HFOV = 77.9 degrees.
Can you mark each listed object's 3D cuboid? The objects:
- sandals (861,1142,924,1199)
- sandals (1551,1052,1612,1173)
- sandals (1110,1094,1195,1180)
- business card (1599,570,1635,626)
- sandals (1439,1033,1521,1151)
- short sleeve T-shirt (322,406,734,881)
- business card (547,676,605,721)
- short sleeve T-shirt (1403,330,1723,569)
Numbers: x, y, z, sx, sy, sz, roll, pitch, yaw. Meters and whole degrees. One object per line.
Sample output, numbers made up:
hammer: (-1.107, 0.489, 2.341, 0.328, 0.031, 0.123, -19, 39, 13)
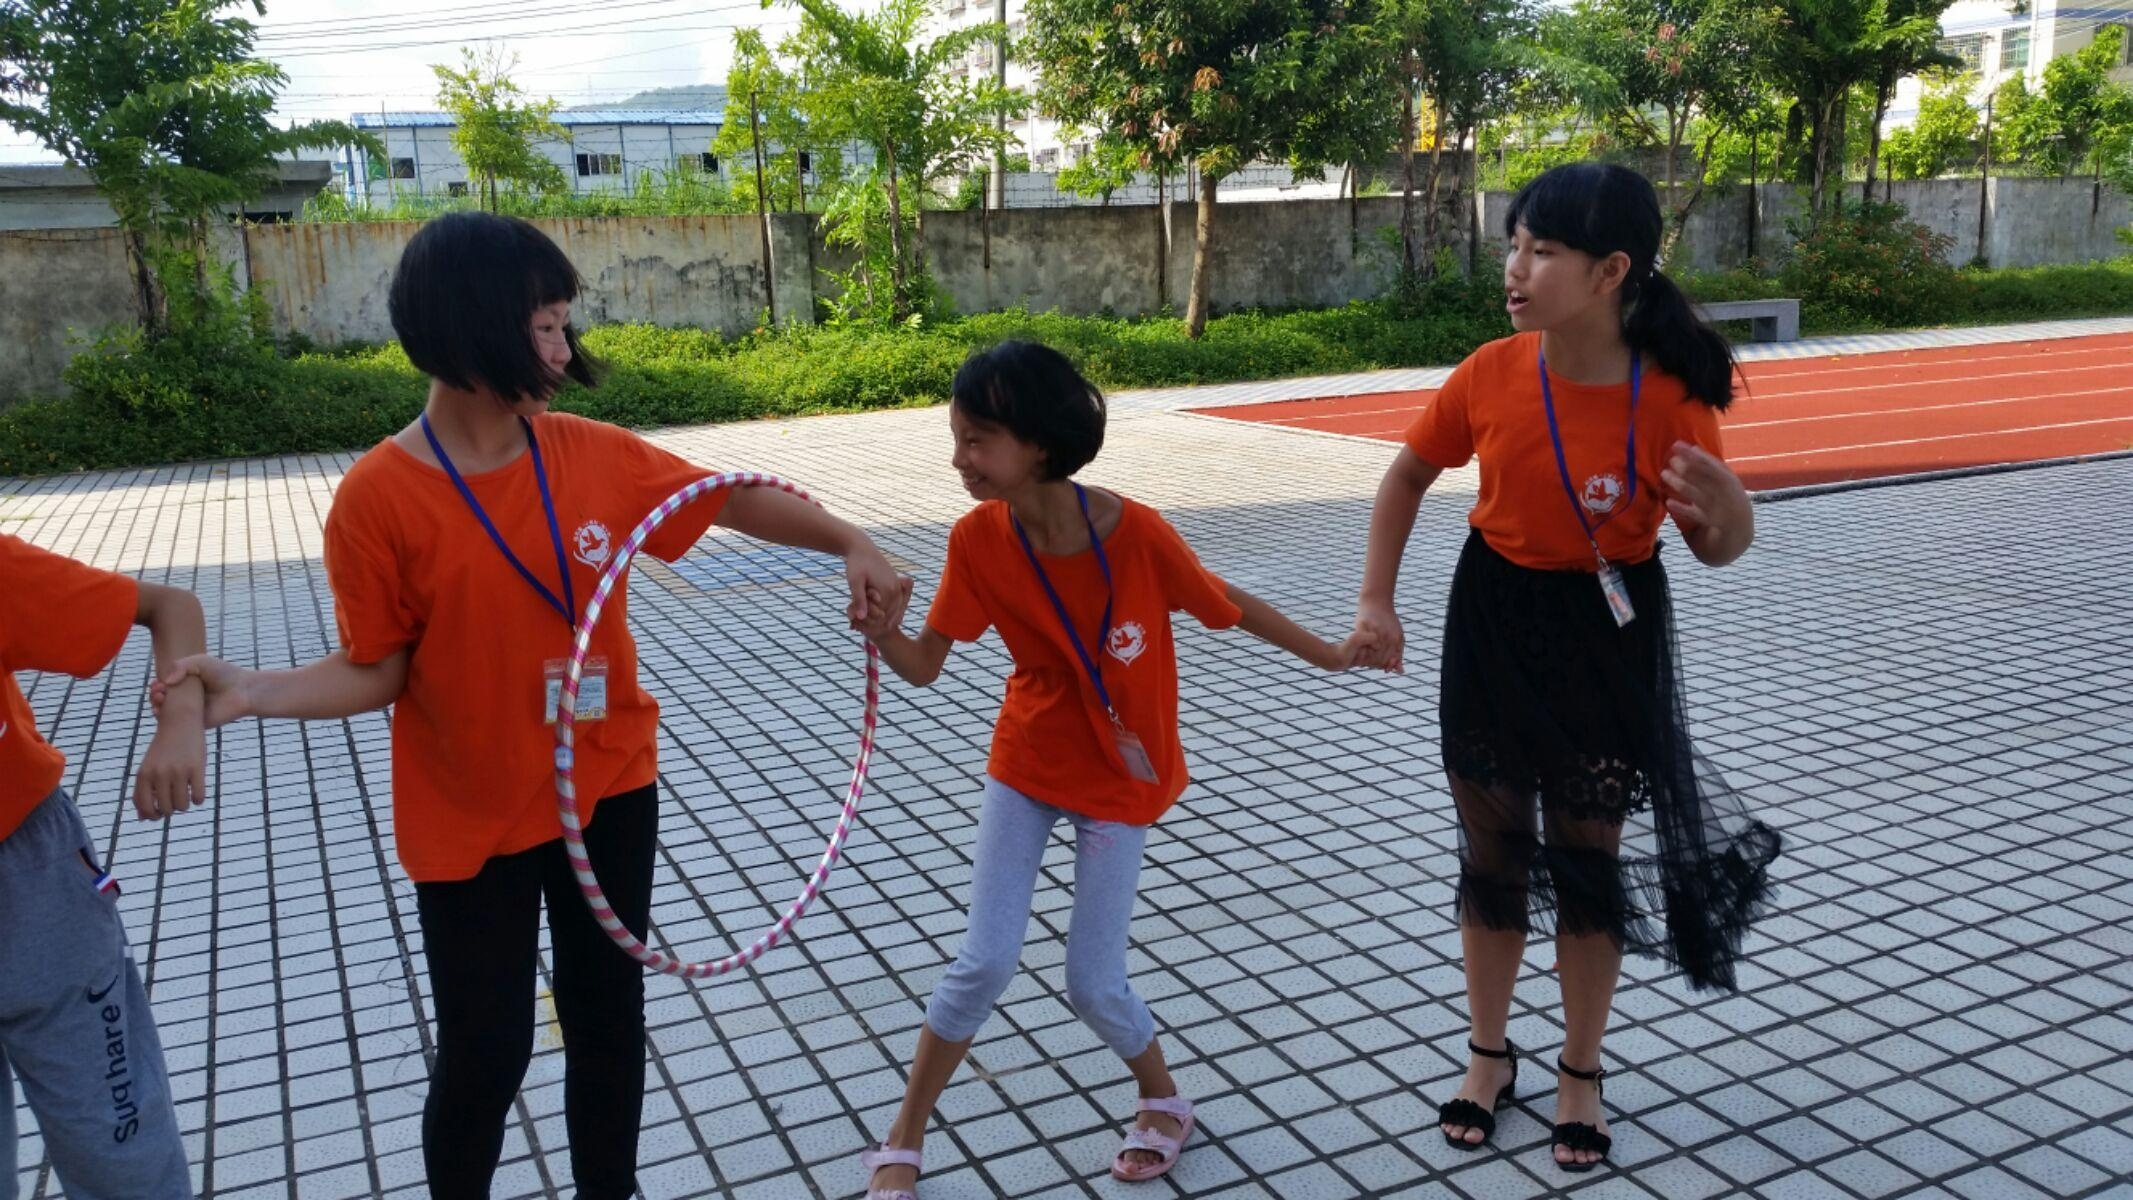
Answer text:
sandals: (-0.525, 1.722, 3.961, 0.121, 0.082, 0.315, -3, 14, -11)
sandals: (1.577, 1.622, 4.093, 0.134, 0.151, 0.393, -2, 2, 10)
sandals: (0.269, 1.633, 4.125, 0.187, 0.173, 0.428, -3, 7, 26)
business card: (1.600, -0.007, 3.818, 0.105, 0.178, 0.079, 0, 18, 15)
sandals: (1.350, 1.584, 4.214, 0.154, 0.185, 0.434, 1, 3, 37)
short sleeve T-shirt: (-1.442, 0.091, 3.666, 0.496, 1.151, 1.288, 22, 25, 39)
business card: (-1.277, 0.249, 3.398, 0.128, 0.104, 0.040, 0, 1, -16)
short sleeve T-shirt: (1.527, -0.476, 3.948, 1.004, 0.706, 0.398, 11, 33, 27)
